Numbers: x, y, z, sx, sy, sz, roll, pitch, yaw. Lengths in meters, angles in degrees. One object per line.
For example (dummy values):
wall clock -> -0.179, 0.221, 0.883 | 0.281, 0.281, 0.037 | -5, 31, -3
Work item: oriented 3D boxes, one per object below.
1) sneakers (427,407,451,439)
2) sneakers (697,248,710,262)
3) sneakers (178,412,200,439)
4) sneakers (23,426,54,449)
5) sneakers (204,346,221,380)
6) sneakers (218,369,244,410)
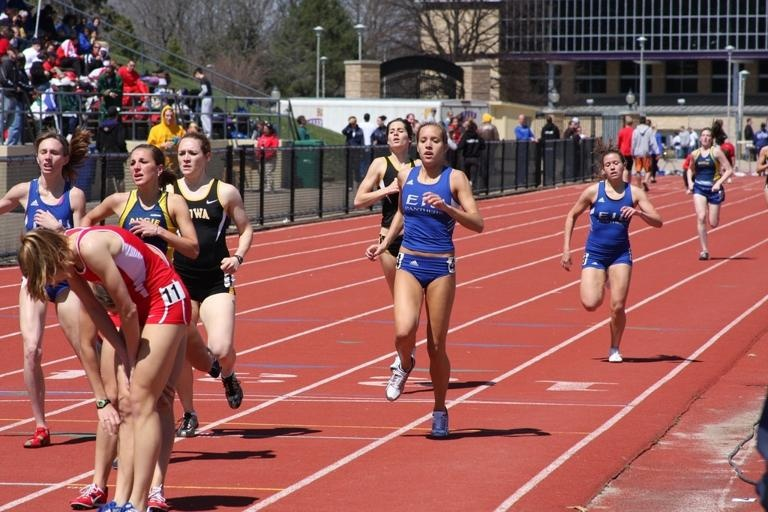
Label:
sneakers -> 0.456, 1.423, 7.388 | 0.102, 0.132, 0.293 | -1, 38, 9
sneakers -> 6.311, -0.013, 17.289 | 0.151, 0.156, 0.372 | -1, 0, 8
sneakers -> -1.657, 1.446, 7.416 | 0.101, 0.116, 0.271 | 2, 9, 5
sneakers -> -2.829, 1.510, 7.189 | 0.127, 0.155, 0.224 | -7, -9, 41
sneakers -> -1.386, 0.847, 7.138 | 0.103, 0.317, 0.134 | -23, -20, 33
sneakers -> -1.309, 1.187, 7.674 | 0.156, 0.457, 0.187 | -14, 28, -8
